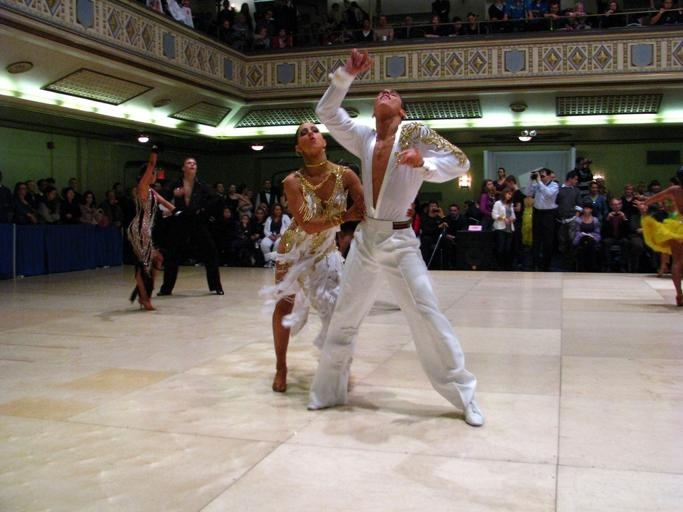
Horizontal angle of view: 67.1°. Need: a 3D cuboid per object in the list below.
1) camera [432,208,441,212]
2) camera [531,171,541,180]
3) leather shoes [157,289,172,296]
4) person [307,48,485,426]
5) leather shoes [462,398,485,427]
[{"bbox_3d":[2.174,-1.060,11.899,0.133,0.088,0.072,0,-4,4],"label":"camera"},{"bbox_3d":[4.008,-1.672,10.718,0.166,0.156,0.104,0,-4,2],"label":"camera"},{"bbox_3d":[-2.827,0.599,8.232,0.087,0.102,0.259,-2,-14,8],"label":"leather shoes"},{"bbox_3d":[0.302,-0.136,3.229,1.040,2.209,0.384,-1,4,15],"label":"person"},{"bbox_3d":[0.774,0.916,3.023,0.119,0.127,0.128,-1,3,14],"label":"leather shoes"}]
